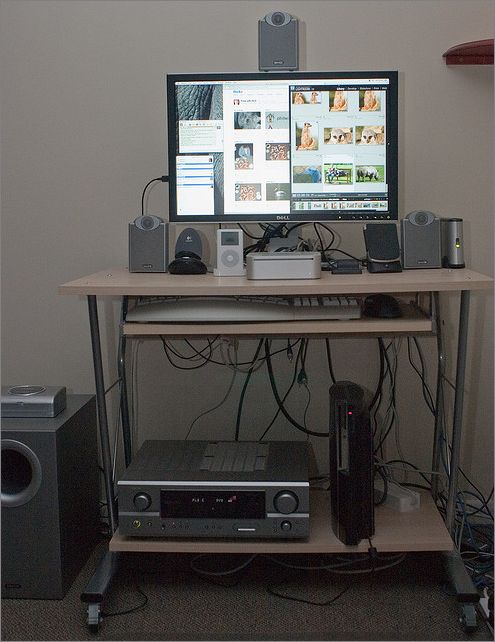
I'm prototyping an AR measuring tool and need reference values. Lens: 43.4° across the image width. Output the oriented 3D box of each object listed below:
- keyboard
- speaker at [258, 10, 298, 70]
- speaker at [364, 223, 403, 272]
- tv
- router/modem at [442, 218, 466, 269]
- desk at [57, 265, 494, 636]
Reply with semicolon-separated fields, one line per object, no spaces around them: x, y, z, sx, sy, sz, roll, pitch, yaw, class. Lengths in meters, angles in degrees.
-0.011;-0.029;1.474;0.544;0.055;0.114;-1;10;-2;keyboard
0.089;-0.802;1.776;0.130;0.215;0.107;0;11;3;speaker
0.357;-0.196;1.645;0.099;0.126;0.100;1;10;12;speaker
0.094;-0.422;1.662;0.532;0.424;0.013;0;10;3;tv
0.560;-0.215;1.698;0.061;0.132;0.094;2;10;18;router/modem
0.071;0.482;1.927;1.173;1.141;0.769;0;15;1;desk
